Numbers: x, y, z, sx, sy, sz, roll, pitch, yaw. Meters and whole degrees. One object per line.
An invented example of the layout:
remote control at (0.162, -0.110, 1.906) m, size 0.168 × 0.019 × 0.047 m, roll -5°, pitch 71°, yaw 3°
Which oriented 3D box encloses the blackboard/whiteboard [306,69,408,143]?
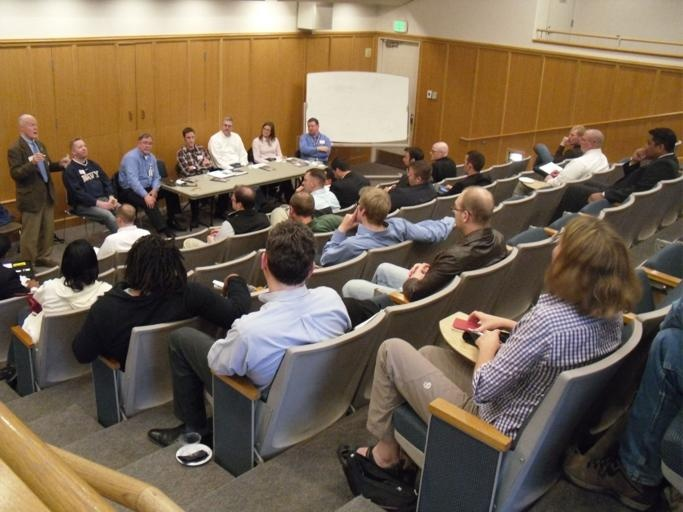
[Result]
blackboard/whiteboard at (0.281, -3.193, 10.539) m, size 1.581 × 1.269 × 0.087 m, roll -1°, pitch 6°, yaw -19°

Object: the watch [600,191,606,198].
watch at (2.967, -0.710, 5.671) m, size 0.057 × 0.064 × 0.064 m, roll 2°, pitch 34°, yaw 8°

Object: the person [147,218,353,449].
person at (-0.471, 0.468, 2.819) m, size 0.892 × 1.625 × 0.864 m, roll 22°, pitch 28°, yaw 19°

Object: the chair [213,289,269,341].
chair at (-0.637, 0.312, 3.273) m, size 0.279 × 0.152 × 0.371 m, roll 10°, pitch 30°, yaw 43°

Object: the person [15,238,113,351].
person at (-2.078, 0.289, 3.756) m, size 0.439 × 1.075 × 0.622 m, roll -11°, pitch 42°, yaw -34°

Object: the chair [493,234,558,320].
chair at (1.196, 0.142, 3.297) m, size 0.333 × 0.503 × 0.351 m, roll -27°, pitch 40°, yaw -30°

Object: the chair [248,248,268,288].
chair at (-0.660, 0.102, 3.985) m, size 0.160 × 0.291 × 0.209 m, roll -15°, pitch 42°, yaw -24°

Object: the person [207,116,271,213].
person at (-1.900, -1.599, 8.741) m, size 0.994 × 1.817 × 0.928 m, roll -2°, pitch 3°, yaw 42°

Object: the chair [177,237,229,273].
chair at (-1.218, -0.007, 4.505) m, size 0.174 × 0.232 × 0.188 m, roll -21°, pitch 45°, yaw -29°

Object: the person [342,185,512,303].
person at (0.669, -0.089, 3.935) m, size 0.796 × 1.176 × 0.497 m, roll 19°, pitch 31°, yaw 30°

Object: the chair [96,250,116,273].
chair at (-2.261, 0.055, 4.843) m, size 0.117 × 0.171 × 0.137 m, roll -21°, pitch 46°, yaw -39°

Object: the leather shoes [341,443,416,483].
leather shoes at (0.176, 0.955, 2.279) m, size 0.297 × 0.122 × 0.141 m, roll 13°, pitch 25°, yaw 41°

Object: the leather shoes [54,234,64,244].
leather shoes at (-4.194, -0.259, 7.469) m, size 0.170 × 0.137 × 0.063 m, roll -5°, pitch 39°, yaw -12°

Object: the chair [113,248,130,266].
chair at (-2.054, 0.008, 4.693) m, size 0.094 × 0.135 × 0.124 m, roll -7°, pitch 37°, yaw -22°

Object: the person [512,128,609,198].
person at (3.055, -1.293, 6.884) m, size 0.961 × 1.342 × 0.549 m, roll 21°, pitch 34°, yaw 32°

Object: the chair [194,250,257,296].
chair at (-0.926, 0.137, 4.183) m, size 0.307 × 0.494 × 0.350 m, roll -26°, pitch 47°, yaw -34°

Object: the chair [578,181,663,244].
chair at (2.526, -0.394, 4.437) m, size 0.392 × 0.581 × 0.416 m, roll -31°, pitch 45°, yaw -10°

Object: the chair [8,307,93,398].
chair at (-2.000, 0.685, 3.500) m, size 0.404 × 0.636 × 0.422 m, roll 31°, pitch 35°, yaw 29°

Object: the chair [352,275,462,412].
chair at (0.348, 0.461, 2.581) m, size 0.408 × 0.578 × 0.399 m, roll -23°, pitch 37°, yaw -34°

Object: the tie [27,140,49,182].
tie at (-3.871, -1.230, 6.432) m, size 0.164 × 0.557 × 0.273 m, roll -15°, pitch 24°, yaw -34°

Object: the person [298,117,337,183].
person at (-0.504, -2.053, 9.717) m, size 0.750 × 1.127 × 0.721 m, roll 28°, pitch 39°, yaw 33°

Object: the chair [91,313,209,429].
chair at (-1.076, 0.638, 2.875) m, size 0.389 × 0.600 × 0.419 m, roll -20°, pitch 38°, yaw -36°

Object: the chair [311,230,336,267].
chair at (-0.112, -0.074, 4.614) m, size 0.230 × 0.310 × 0.277 m, roll 4°, pitch 45°, yaw 11°

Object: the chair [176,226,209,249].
chair at (-1.810, -0.233, 6.096) m, size 0.324 × 0.314 × 0.300 m, roll -12°, pitch 24°, yaw -6°
